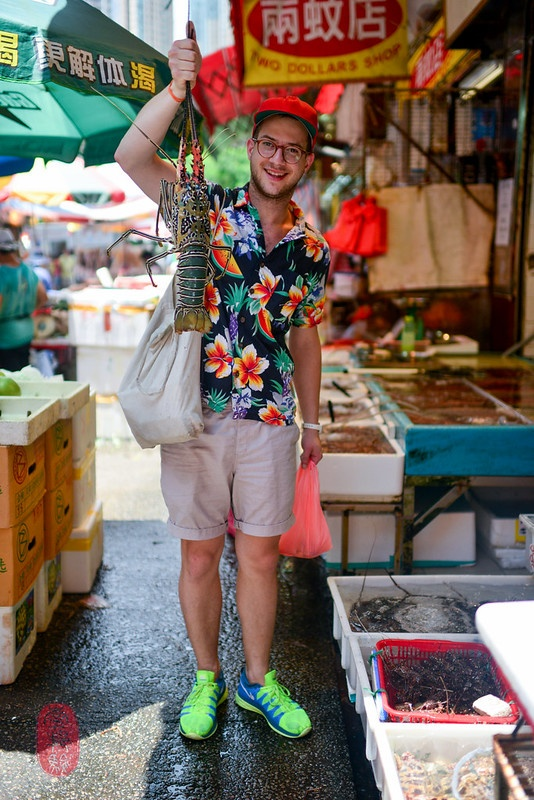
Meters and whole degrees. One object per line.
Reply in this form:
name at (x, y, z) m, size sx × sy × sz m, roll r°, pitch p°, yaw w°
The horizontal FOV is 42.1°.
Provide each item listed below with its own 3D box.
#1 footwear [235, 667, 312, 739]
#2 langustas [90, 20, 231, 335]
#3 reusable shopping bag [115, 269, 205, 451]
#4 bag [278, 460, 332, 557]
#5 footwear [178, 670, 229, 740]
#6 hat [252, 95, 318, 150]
footwear at (0.011, 1.002, 2.395) m, size 0.120 × 0.139 × 0.329 m, roll -11°, pitch 19°, yaw -42°
langustas at (-0.305, -0.578, 1.996) m, size 0.459 × 0.752 × 0.259 m, roll 4°, pitch -12°, yaw -32°
reusable shopping bag at (-0.318, -0.129, 2.147) m, size 0.240 × 0.556 × 0.161 m, roll 3°, pitch -8°, yaw 11°
bag at (0.144, 0.431, 2.616) m, size 0.189 × 0.346 × 0.153 m, roll -6°, pitch -20°, yaw 18°
footwear at (-0.204, 1.024, 2.311) m, size 0.097 × 0.110 × 0.243 m, roll 3°, pitch 20°, yaw 7°
hat at (0.072, -0.895, 2.190) m, size 0.227 × 0.166 × 0.178 m, roll 0°, pitch 8°, yaw -14°
